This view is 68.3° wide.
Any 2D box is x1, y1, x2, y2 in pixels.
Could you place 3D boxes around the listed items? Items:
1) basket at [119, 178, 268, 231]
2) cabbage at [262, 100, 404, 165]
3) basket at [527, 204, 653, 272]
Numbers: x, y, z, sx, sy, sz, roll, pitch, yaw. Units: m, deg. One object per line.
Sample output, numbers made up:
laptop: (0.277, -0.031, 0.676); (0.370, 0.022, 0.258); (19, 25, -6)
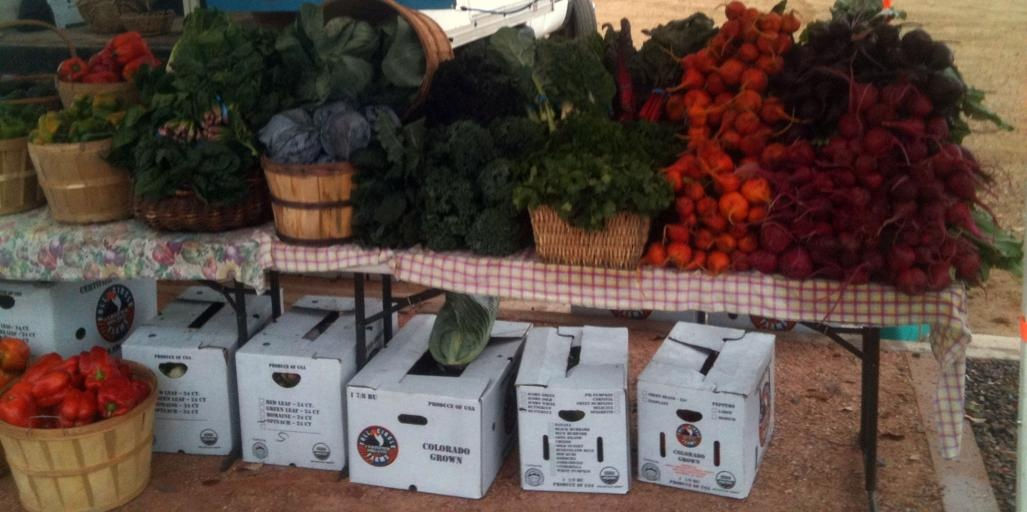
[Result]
basket: (-2.350, -0.370, 5.999); (0.886, 0.325, 0.855); (-11, 3, -40)
cabbage: (-1.374, -0.889, 5.411); (0.844, 0.427, 0.273); (-4, 15, -11)
basket: (0.531, -0.146, 5.254); (0.742, 0.456, 0.748); (1, 1, 7)
